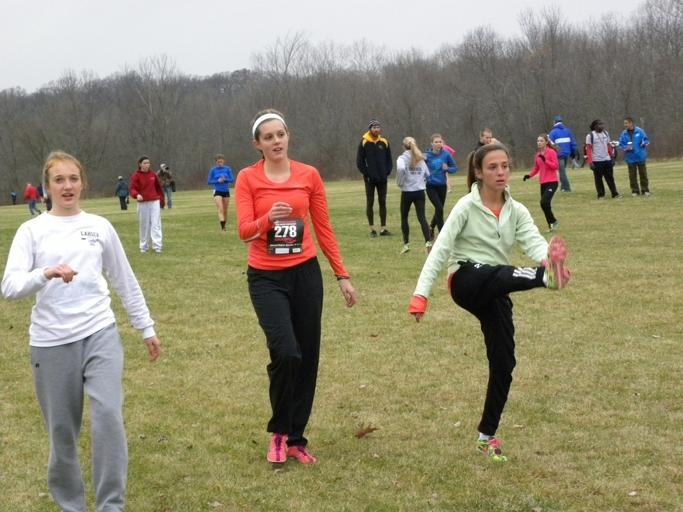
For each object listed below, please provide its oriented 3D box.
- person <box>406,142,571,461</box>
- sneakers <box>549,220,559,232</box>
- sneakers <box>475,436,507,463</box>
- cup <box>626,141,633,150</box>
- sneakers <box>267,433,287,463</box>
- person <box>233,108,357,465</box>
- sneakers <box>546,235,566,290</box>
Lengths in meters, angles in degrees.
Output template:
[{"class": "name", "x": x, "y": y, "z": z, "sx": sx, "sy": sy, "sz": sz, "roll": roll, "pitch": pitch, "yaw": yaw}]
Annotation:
[{"class": "person", "x": 1.241, "y": 0.354, "z": 5.806, "sx": 1.232, "sy": 2.512, "sz": 0.846, "roll": 0, "pitch": 12, "yaw": 11}, {"class": "sneakers", "x": 4.625, "y": -0.682, "z": 15.148, "sx": 0.165, "sy": 0.213, "sz": 0.499, "roll": -2, "pitch": 2, "yaw": 12}, {"class": "sneakers", "x": 1.245, "y": 1.576, "z": 5.796, "sx": 0.110, "sy": 0.129, "sz": 0.299, "roll": -2, "pitch": 23, "yaw": -46}, {"class": "cup", "x": 8.207, "y": -3.177, "z": 19.758, "sx": 0.174, "sy": 0.185, "sz": 0.176, "roll": 0, "pitch": -4, "yaw": 0}, {"class": "sneakers", "x": -0.537, "y": 1.596, "z": 5.787, "sx": 0.175, "sy": 0.253, "sz": 0.137, "roll": -4, "pitch": 12, "yaw": -8}, {"class": "person", "x": -0.447, "y": 0.231, "z": 5.870, "sx": 0.705, "sy": 2.881, "sz": 0.913, "roll": 6, "pitch": 14, "yaw": 34}, {"class": "sneakers", "x": 1.696, "y": 0.051, "z": 5.461, "sx": 0.146, "sy": 0.444, "sz": 0.196, "roll": 0, "pitch": -4, "yaw": -19}]
